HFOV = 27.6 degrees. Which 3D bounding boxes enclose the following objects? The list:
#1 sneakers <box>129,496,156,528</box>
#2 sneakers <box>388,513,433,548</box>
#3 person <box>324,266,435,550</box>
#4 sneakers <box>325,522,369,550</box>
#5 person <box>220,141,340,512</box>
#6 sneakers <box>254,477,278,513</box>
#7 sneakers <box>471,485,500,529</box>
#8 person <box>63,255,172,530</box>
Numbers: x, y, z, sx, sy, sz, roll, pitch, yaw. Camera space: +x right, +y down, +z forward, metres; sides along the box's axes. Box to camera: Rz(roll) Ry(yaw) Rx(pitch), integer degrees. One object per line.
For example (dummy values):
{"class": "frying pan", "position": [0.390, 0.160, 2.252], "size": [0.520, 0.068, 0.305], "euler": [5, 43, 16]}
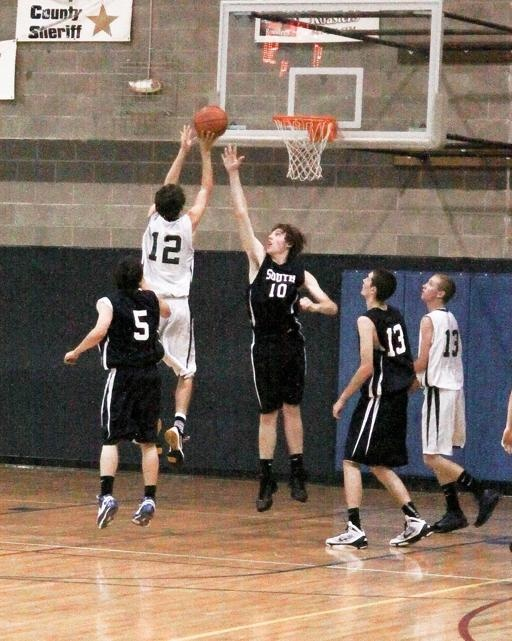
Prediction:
{"class": "sneakers", "position": [-0.592, 1.001, 5.407], "size": [0.087, 0.097, 0.175], "euler": [12, -41, -11]}
{"class": "sneakers", "position": [0.846, 1.140, 5.621], "size": [0.184, 0.199, 0.190], "euler": [-1, 4, -18]}
{"class": "person", "position": [0.682, 0.482, 5.657], "size": [0.562, 1.510, 0.413], "euler": [1, 4, 4]}
{"class": "sneakers", "position": [0.509, 1.167, 5.632], "size": [0.286, 0.171, 0.098], "euler": [2, -3, 11]}
{"class": "person", "position": [0.141, 0.054, 6.030], "size": [0.382, 2.097, 0.985], "euler": [-1, 4, -22]}
{"class": "sneakers", "position": [0.056, 1.022, 6.071], "size": [0.101, 0.261, 0.115], "euler": [2, -4, 18]}
{"class": "sneakers", "position": [1.327, 1.090, 5.961], "size": [0.127, 0.264, 0.280], "euler": [1, 4, 11]}
{"class": "person", "position": [-0.707, 0.372, 5.425], "size": [0.553, 1.394, 0.413], "euler": [-1, 4, -22]}
